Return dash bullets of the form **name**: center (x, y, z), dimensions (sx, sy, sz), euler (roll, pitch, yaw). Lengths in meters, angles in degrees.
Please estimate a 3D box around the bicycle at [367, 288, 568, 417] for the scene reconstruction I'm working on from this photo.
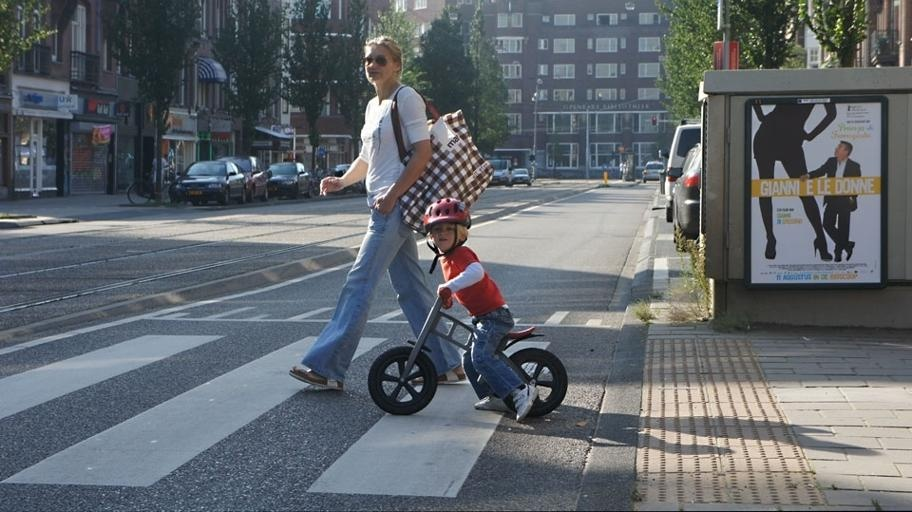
- **bicycle**: center (0.093, 0.959, 8.270), dimensions (1.662, 1.174, 1.030), euler (2, -5, -1)

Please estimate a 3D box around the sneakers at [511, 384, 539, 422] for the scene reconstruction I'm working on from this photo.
- **sneakers**: center (0.630, 1.330, 7.755), dimensions (0.234, 0.360, 0.230), euler (1, 10, 10)

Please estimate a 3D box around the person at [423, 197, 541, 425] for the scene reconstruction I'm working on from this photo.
- **person**: center (0.232, 0.495, 7.744), dimensions (1.003, 1.998, 0.506), euler (-1, 10, 0)

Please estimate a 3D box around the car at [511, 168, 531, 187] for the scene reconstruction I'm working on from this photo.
- **car**: center (5.363, -6.434, 69.958), dimensions (1.051, 0.948, 2.329), euler (1, 12, 8)

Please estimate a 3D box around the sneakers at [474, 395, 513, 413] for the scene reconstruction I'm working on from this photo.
- **sneakers**: center (0.354, 1.372, 8.060), dimensions (0.370, 0.162, 0.138), euler (6, 1, 12)

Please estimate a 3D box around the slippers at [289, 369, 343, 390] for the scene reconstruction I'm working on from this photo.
- **slippers**: center (-1.372, 1.188, 8.336), dimensions (0.444, 0.172, 0.253), euler (15, 1, -14)

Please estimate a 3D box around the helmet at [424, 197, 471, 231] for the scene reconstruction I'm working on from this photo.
- **helmet**: center (-0.090, -0.391, 7.815), dimensions (0.426, 0.278, 0.420), euler (-2, 11, -3)
